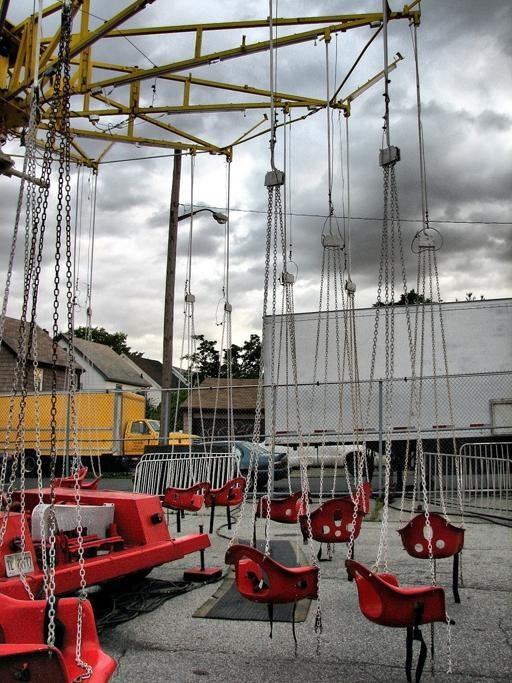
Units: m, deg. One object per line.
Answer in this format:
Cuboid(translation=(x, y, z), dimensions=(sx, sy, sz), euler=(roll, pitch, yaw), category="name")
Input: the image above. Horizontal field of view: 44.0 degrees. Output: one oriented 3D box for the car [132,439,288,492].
Cuboid(translation=(-1.019, 2.160, 10.962), dimensions=(3.259, 0.895, 1.867), euler=(0, -6, 7), category="car")
